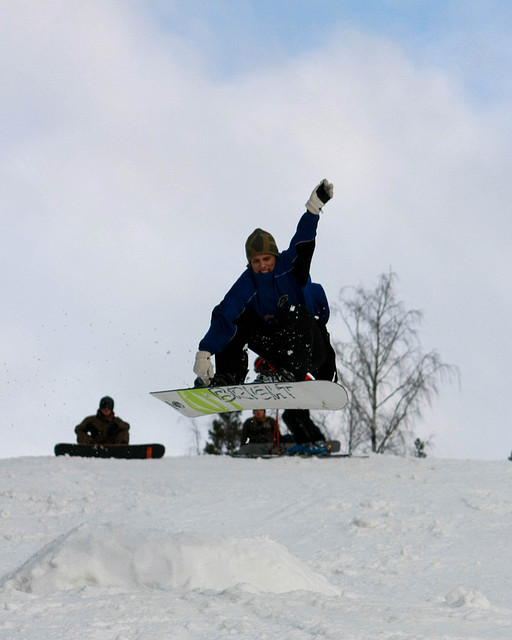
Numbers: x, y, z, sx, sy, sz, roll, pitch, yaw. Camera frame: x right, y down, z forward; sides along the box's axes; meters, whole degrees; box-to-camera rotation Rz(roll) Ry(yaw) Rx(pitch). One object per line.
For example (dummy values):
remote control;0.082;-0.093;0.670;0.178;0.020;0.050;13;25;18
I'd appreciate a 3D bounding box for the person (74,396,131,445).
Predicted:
person;-1.626;1.199;12.310;0.580;0.296;0.816;-4;33;-15

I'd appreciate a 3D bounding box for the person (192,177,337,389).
person;0.157;-0.108;8.055;0.764;1.577;0.826;28;-12;-22

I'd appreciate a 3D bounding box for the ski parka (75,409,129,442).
ski parka;-1.652;1.129;12.337;0.546;0.347;0.214;4;-10;-8
